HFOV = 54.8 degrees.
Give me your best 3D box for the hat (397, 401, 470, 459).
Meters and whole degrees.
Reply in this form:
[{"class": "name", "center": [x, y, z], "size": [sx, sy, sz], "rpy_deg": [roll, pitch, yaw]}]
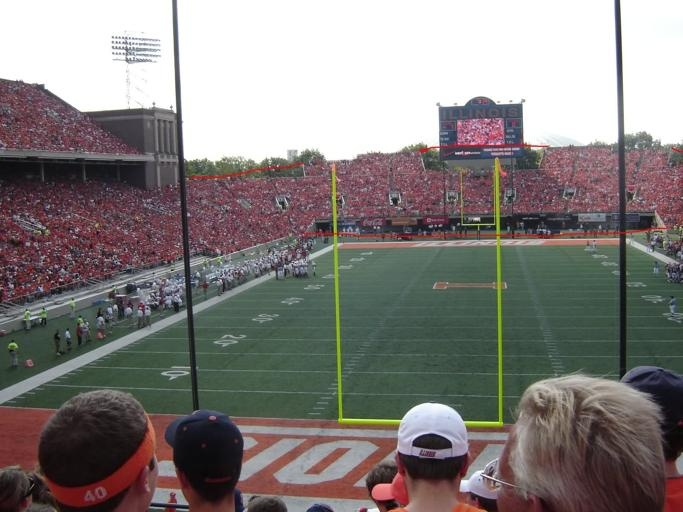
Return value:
[{"class": "hat", "center": [0.325, 0.605, 2.423], "size": [0.304, 0.151, 0.401], "rpy_deg": [2, -4, 4]}]
